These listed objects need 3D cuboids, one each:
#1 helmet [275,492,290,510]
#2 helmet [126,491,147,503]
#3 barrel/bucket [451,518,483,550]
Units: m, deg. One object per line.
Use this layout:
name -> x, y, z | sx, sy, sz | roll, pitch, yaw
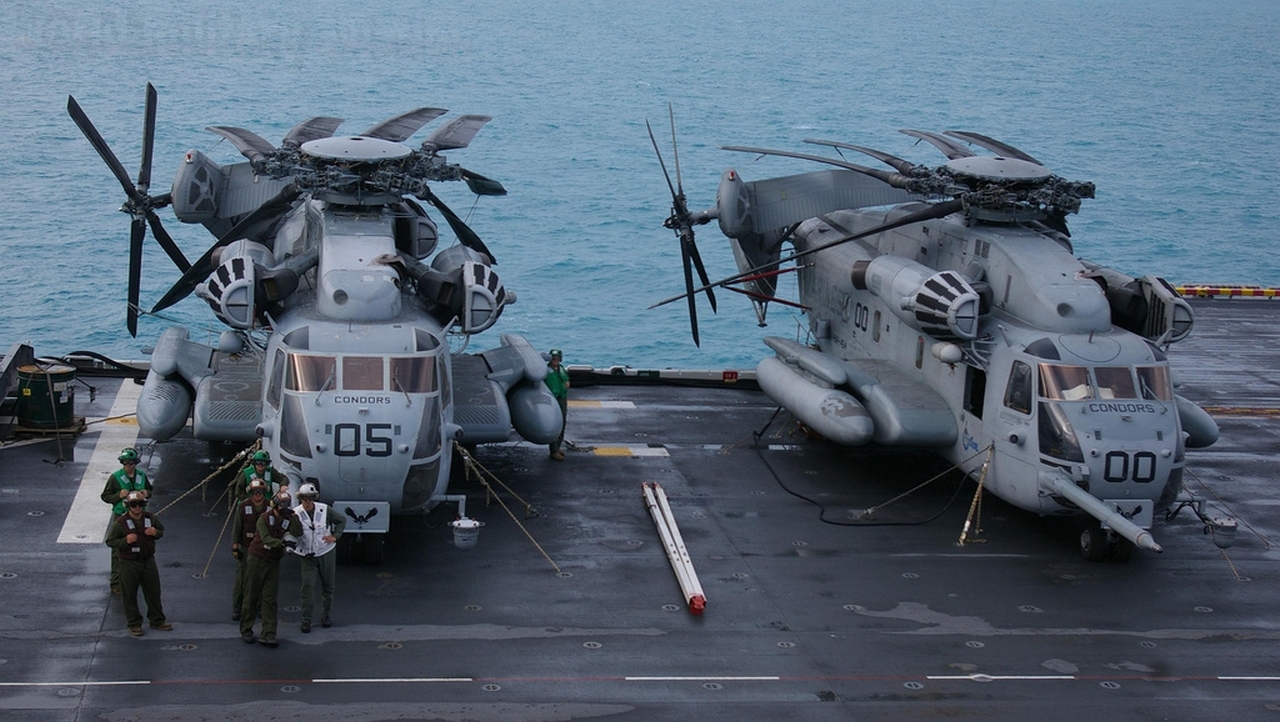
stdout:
helmet -> -8.105, 3.173, 35.919 | 0.270, 0.345, 0.357 | 6, 27, 16
helmet -> -11.454, 3.112, 35.999 | 0.468, 0.248, 0.411 | -4, -7, -15
barrel/bucket -> -4.255, 4.227, 38.853 | 1.463, 0.713, 0.881 | 0, 1, -3
